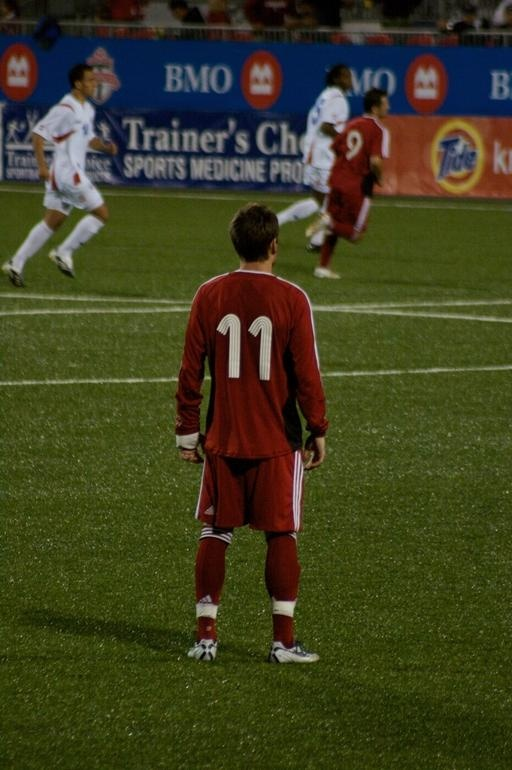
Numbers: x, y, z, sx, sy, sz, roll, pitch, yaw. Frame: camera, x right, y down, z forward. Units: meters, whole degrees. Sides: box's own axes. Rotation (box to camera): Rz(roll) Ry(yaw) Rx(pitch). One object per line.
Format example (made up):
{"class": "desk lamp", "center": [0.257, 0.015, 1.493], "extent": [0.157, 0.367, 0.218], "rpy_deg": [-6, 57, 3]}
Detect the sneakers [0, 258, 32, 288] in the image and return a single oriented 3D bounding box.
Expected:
{"class": "sneakers", "center": [-1.697, -0.812, 11.369], "extent": [0.129, 0.118, 0.306], "rpy_deg": [33, -7, 9]}

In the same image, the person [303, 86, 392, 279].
{"class": "person", "center": [0.689, -1.446, 12.045], "extent": [0.510, 1.464, 0.986], "rpy_deg": [2, 13, 2]}

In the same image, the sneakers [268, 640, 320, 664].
{"class": "sneakers", "center": [0.122, 0.906, 5.647], "extent": [0.162, 0.089, 0.070], "rpy_deg": [1, -4, -13]}

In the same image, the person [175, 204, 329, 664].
{"class": "person", "center": [-0.029, 0.151, 5.652], "extent": [0.526, 1.504, 0.469], "rpy_deg": [2, 13, 1]}

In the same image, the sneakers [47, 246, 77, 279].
{"class": "sneakers", "center": [-1.441, -0.896, 11.979], "extent": [0.106, 0.304, 0.134], "rpy_deg": [-36, 13, -7]}

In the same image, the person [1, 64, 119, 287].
{"class": "person", "center": [-1.405, -1.479, 11.720], "extent": [0.741, 1.664, 1.747], "rpy_deg": [0, 14, -6]}
